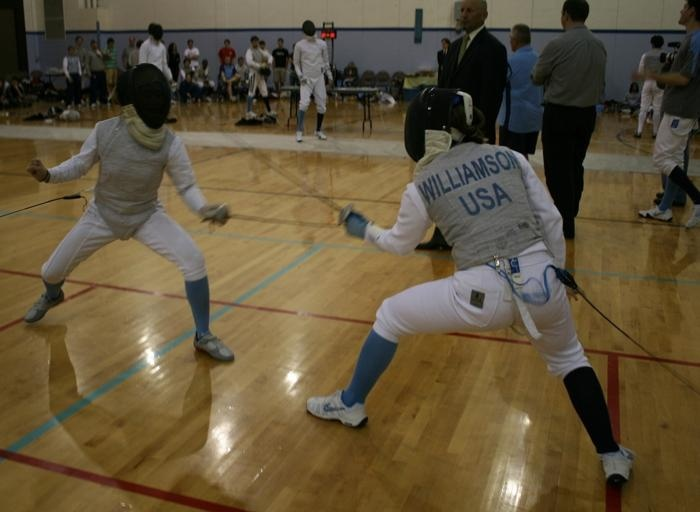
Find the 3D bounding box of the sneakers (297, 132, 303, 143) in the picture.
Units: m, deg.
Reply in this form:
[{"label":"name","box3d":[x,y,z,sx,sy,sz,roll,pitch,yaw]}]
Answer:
[{"label":"sneakers","box3d":[-0.897,-2.099,9.441,0.116,0.170,0.264,-2,23,-8]}]

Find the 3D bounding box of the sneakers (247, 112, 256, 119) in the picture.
[{"label":"sneakers","box3d":[-2.222,-3.126,11.925,0.207,0.165,0.474,-4,24,-13]}]

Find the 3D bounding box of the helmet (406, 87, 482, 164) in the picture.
[{"label":"helmet","box3d":[0.409,-0.622,2.457,0.324,0.343,0.251,-1,5,32]}]

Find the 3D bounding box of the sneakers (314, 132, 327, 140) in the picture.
[{"label":"sneakers","box3d":[-0.521,-2.171,9.741,0.094,0.112,0.262,-12,29,-16]}]

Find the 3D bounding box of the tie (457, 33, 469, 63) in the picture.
[{"label":"tie","box3d":[0.918,-1.686,4.339,0.082,0.208,0.233,5,22,9]}]

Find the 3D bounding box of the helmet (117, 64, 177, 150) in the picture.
[{"label":"helmet","box3d":[-1.186,-0.858,3.097,0.284,0.458,0.253,-9,23,-24]}]

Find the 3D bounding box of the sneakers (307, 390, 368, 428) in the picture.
[{"label":"sneakers","box3d":[-0.068,0.788,2.832,0.319,0.172,0.144,11,19,19]}]

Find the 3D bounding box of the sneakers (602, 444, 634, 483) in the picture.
[{"label":"sneakers","box3d":[1.226,0.939,2.451,0.113,0.115,0.259,-24,-5,31]}]

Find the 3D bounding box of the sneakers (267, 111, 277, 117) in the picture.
[{"label":"sneakers","box3d":[-1.833,-3.265,12.405,0.206,0.118,0.430,-3,24,-11]}]

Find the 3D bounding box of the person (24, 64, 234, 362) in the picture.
[{"label":"person","box3d":[-1.328,-0.244,3.181,1.217,1.705,0.751,6,21,-7]}]

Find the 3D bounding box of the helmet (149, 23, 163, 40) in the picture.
[{"label":"helmet","box3d":[-3.588,-4.117,9.864,0.214,0.283,0.476,-7,24,-20]}]

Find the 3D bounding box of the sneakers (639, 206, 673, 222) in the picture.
[{"label":"sneakers","box3d":[3.191,-0.450,5.577,0.325,0.128,0.233,13,25,24]}]
